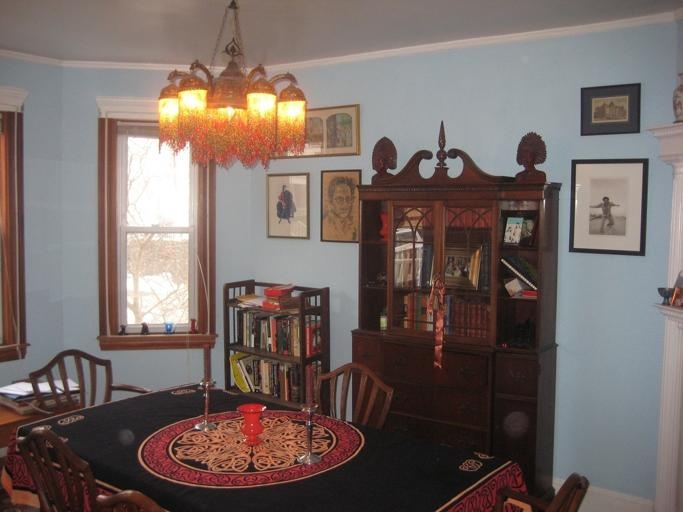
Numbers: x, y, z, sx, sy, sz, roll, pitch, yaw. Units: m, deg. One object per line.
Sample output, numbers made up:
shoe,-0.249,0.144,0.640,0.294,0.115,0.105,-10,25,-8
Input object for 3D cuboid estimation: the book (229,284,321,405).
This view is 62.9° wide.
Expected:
book,-0.549,0.776,4.818,0.937,1.139,0.390,3,3,36

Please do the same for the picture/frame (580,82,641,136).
picture/frame,1.920,-1.042,3.946,0.379,0.364,0.028,2,6,29

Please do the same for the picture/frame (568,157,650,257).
picture/frame,1.928,-0.362,3.977,0.655,0.938,0.037,2,3,26

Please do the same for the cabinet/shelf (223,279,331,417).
cabinet/shelf,-0.616,0.794,5.069,0.871,1.056,0.356,5,5,3
